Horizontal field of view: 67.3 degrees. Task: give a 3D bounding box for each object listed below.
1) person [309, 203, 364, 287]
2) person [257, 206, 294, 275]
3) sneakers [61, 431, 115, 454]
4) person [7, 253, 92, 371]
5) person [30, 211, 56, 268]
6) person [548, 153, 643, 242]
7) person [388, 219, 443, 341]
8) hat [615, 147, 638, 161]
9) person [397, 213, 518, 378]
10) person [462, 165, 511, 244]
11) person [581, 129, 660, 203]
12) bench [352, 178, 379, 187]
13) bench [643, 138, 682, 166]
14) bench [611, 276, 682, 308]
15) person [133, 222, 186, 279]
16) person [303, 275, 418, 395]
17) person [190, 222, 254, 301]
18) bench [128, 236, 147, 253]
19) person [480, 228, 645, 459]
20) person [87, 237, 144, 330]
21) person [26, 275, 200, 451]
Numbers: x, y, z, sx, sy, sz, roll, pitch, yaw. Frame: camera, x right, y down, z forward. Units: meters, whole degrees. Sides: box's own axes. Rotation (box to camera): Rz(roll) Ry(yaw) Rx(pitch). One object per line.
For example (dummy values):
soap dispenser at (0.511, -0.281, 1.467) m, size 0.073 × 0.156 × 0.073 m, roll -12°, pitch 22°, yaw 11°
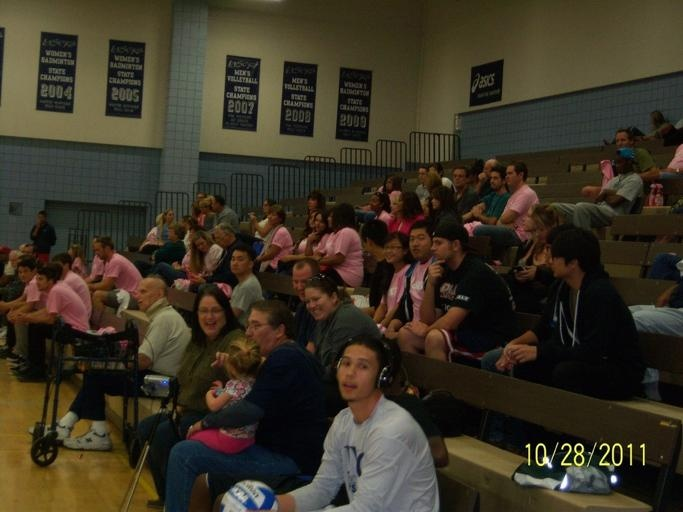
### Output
person at (-0.038, -0.114, 6.921) m, size 0.712 × 1.161 × 0.743 m, roll -2°, pitch -11°, yaw 10°
person at (-1.203, -0.241, 8.541) m, size 0.804 × 1.146 × 0.709 m, roll 3°, pitch -8°, yaw -34°
sneakers at (-2.537, 1.873, 5.243) m, size 0.497 × 0.249 × 0.197 m, roll 6°, pitch -6°, yaw -5°
person at (-4.276, 0.965, 7.632) m, size 1.020 × 1.636 × 0.720 m, roll 3°, pitch -3°, yaw -30°
person at (-8.394, -0.193, 14.418) m, size 0.632 × 2.157 × 0.482 m, roll 1°, pitch -6°, yaw -9°
person at (3.242, -0.681, 6.603) m, size 0.975 × 1.403 × 0.685 m, roll 3°, pitch 5°, yaw 9°
person at (0.656, 0.232, 4.780) m, size 0.702 × 1.096 × 0.548 m, roll -5°, pitch 7°, yaw -27°
hat at (3.776, -1.394, 6.849) m, size 0.210 × 0.173 × 0.169 m, roll 22°, pitch 51°, yaw 24°
person at (0.938, 0.561, 4.326) m, size 0.970 × 1.600 × 0.783 m, roll 2°, pitch -2°, yaw -8°
person at (2.043, -0.644, 7.316) m, size 0.692 × 1.247 × 0.600 m, roll 0°, pitch 10°, yaw -25°
person at (3.852, -1.208, 7.102) m, size 0.568 × 1.150 × 0.807 m, roll -2°, pitch 1°, yaw -31°
bench at (0.692, -2.110, 14.744) m, size 0.325 × 0.200 × 1.141 m, roll 1°, pitch 3°, yaw -31°
bench at (5.033, -1.632, 8.057) m, size 0.359 × 0.484 × 0.706 m, roll -6°, pitch 13°, yaw -5°
bench at (2.493, 0.299, 4.183) m, size 0.082 × 0.263 × 0.373 m, roll 1°, pitch 4°, yaw -24°
person at (-3.403, 0.121, 9.689) m, size 0.627 × 1.467 × 0.853 m, roll 8°, pitch 3°, yaw 30°
person at (-0.045, 0.556, 4.163) m, size 0.590 × 0.819 × 0.674 m, roll -1°, pitch 8°, yaw 44°
person at (-1.779, 0.032, 7.872) m, size 1.056 × 1.456 × 0.961 m, roll 8°, pitch -10°, yaw -12°
bench at (-5.274, -0.297, 13.283) m, size 0.368 × 0.273 × 0.143 m, roll 14°, pitch -20°, yaw 35°
person at (1.441, 0.590, 3.468) m, size 1.054 × 1.565 × 0.934 m, roll 7°, pitch -9°, yaw -23°
person at (-4.078, 0.499, 9.008) m, size 1.006 × 1.707 × 0.784 m, roll 4°, pitch 5°, yaw -28°
person at (-2.265, 1.060, 5.300) m, size 1.279 × 1.782 × 0.703 m, roll 7°, pitch 0°, yaw -29°
